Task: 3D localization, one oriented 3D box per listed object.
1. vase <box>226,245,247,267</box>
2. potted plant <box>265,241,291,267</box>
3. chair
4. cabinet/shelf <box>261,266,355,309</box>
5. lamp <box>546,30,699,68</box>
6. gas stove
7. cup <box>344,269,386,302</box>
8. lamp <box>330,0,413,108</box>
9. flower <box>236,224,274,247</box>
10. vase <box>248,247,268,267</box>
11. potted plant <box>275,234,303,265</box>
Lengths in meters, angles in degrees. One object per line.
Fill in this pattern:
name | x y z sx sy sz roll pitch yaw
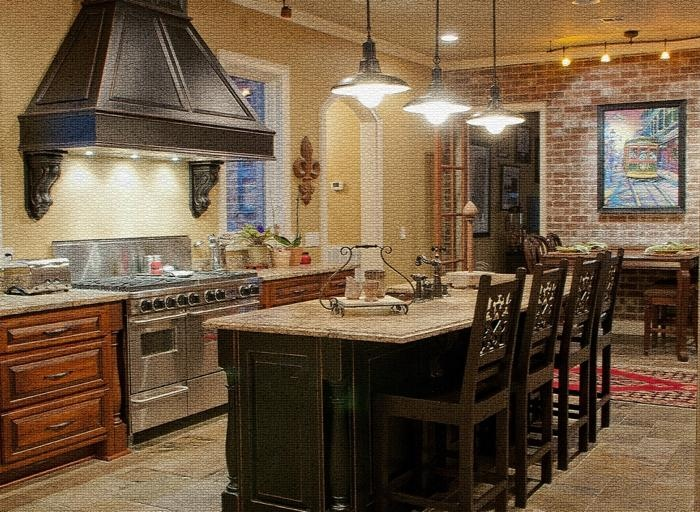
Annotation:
vase | -1.059 -0.001 6.401 0.170 0.206 0.214 -1 7 -3
potted plant | -0.679 -0.020 6.645 0.264 0.185 0.217 0 -2 3
chair | 1.806 0.617 4.968 1.268 1.435 3.754 4 8 32
cabinet/shelf | -0.412 0.265 6.195 0.315 0.315 1.229 3 8 29
lamp | 3.184 -2.416 8.079 1.689 0.266 1.331 1 7 13
gas stove | -1.454 0.175 5.247 0.728 0.081 1.177 4 8 37
cup | 0.053 0.170 4.040 0.304 0.181 0.188 1 0 23
lamp | 0.100 -1.174 3.913 0.412 0.589 0.343 4 9 31
flower | -0.882 -0.194 6.419 0.299 0.143 0.267 2 1 -11
vase | -0.809 0.004 6.325 0.214 0.181 0.193 -1 -1 3
potted plant | -0.566 -0.059 6.680 0.278 0.290 0.332 -4 -6 22
